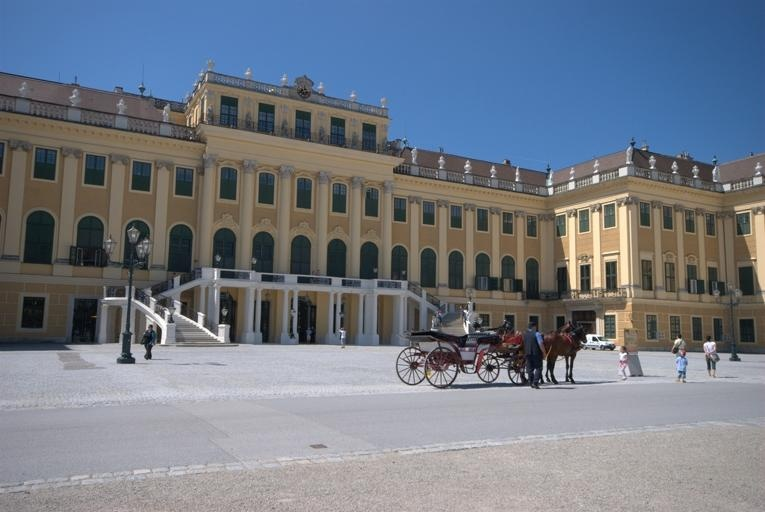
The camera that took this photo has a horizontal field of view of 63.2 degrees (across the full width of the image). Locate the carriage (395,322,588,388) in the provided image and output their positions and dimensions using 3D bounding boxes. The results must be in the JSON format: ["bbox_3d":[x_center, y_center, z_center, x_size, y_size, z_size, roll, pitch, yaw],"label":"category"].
[{"bbox_3d":[4.235,3.843,23.635,7.450,4.430,2.428,2,-4,-12],"label":"carriage"}]
